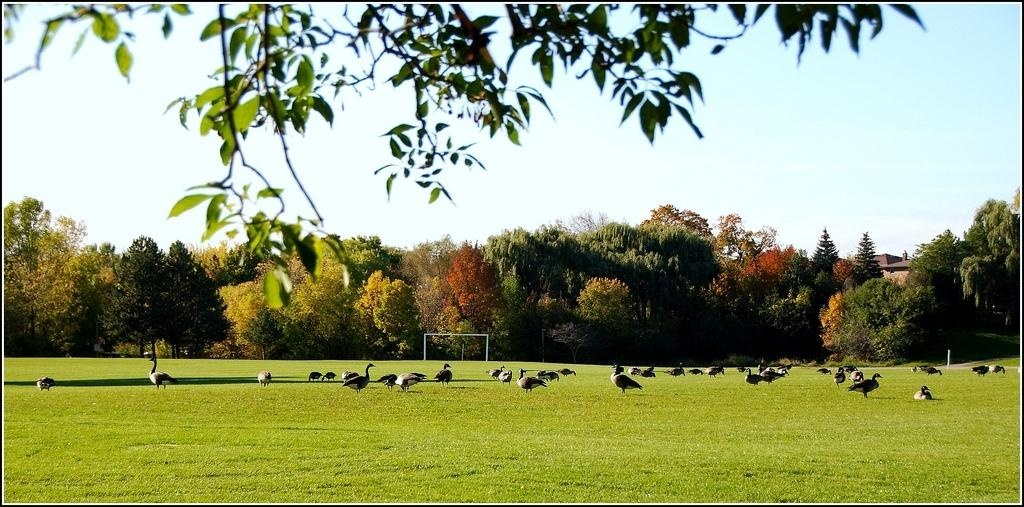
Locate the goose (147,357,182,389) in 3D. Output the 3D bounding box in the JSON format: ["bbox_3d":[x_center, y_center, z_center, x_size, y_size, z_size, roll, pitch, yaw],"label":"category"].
[{"bbox_3d":[-25.280,8.626,80.471,2.759,2.157,1.148,3,1,28],"label":"goose"}]

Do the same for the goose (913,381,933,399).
[{"bbox_3d":[28.863,9.583,77.655,1.384,0.821,0.992,-11,11,-33],"label":"goose"}]

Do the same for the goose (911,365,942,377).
[{"bbox_3d":[33.161,9.338,88.838,2.408,1.157,0.687,3,-14,12],"label":"goose"}]
